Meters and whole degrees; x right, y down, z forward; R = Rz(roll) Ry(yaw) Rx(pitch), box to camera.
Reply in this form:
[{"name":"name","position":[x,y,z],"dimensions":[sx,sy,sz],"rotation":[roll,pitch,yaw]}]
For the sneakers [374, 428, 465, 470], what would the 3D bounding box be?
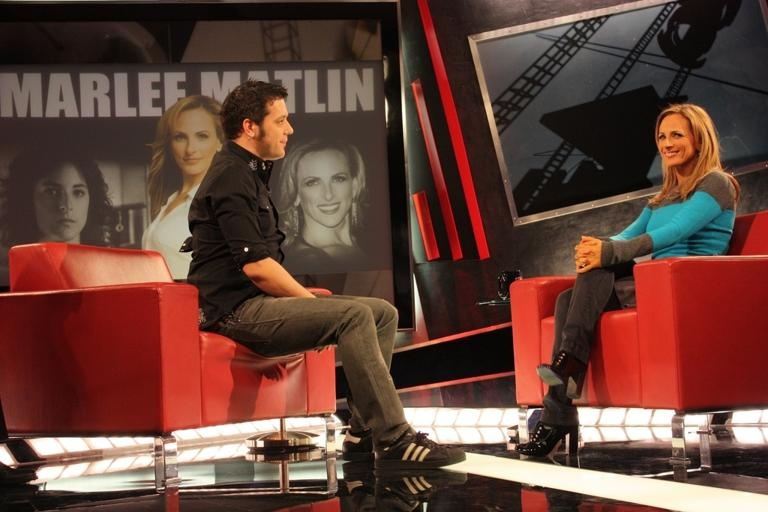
[{"name":"sneakers","position":[0.133,0.898,3.715],"dimensions":[0.473,0.189,0.166],"rotation":[0,-4,-3]}]
